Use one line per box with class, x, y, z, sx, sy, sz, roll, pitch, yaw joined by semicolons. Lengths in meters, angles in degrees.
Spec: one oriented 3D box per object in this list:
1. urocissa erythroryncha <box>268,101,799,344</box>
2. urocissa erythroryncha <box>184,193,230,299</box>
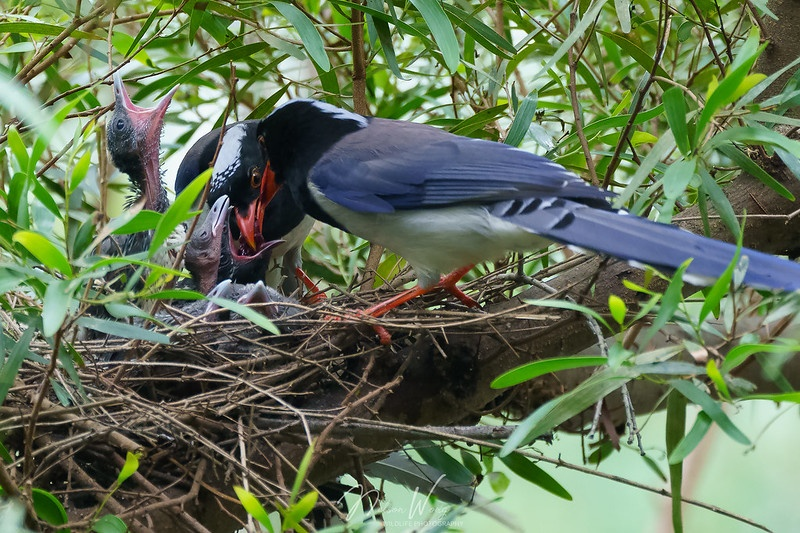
urocissa erythroryncha;0.344;-0.220;2.831;1.968;0.712;0.525;6;15;29
urocissa erythroryncha;-0.654;-0.053;2.970;0.154;0.419;0.129;8;31;0
